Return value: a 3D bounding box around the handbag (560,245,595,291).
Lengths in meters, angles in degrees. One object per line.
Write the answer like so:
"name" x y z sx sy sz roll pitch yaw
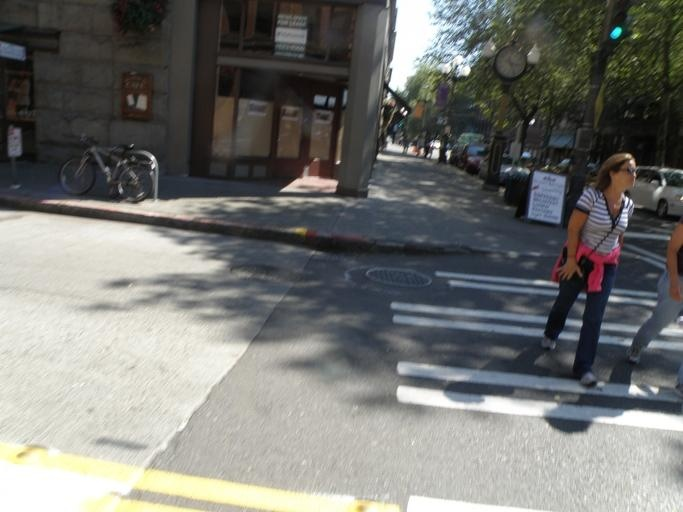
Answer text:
"handbag" 2.332 0.120 5.134 0.170 0.408 0.281 2 6 -45

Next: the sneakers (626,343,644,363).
"sneakers" 3.136 1.039 5.545 0.088 0.115 0.280 3 7 27

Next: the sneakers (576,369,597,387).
"sneakers" 2.338 1.163 4.928 0.175 0.114 0.165 11 16 23

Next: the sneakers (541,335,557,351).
"sneakers" 2.291 0.956 5.733 0.108 0.188 0.178 -3 -13 29

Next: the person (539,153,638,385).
"person" 2.390 0.095 5.070 0.568 2.143 0.786 10 15 25

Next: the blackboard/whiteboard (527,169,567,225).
"blackboard/whiteboard" 5.276 -1.473 13.337 0.981 1.489 0.146 14 4 18
